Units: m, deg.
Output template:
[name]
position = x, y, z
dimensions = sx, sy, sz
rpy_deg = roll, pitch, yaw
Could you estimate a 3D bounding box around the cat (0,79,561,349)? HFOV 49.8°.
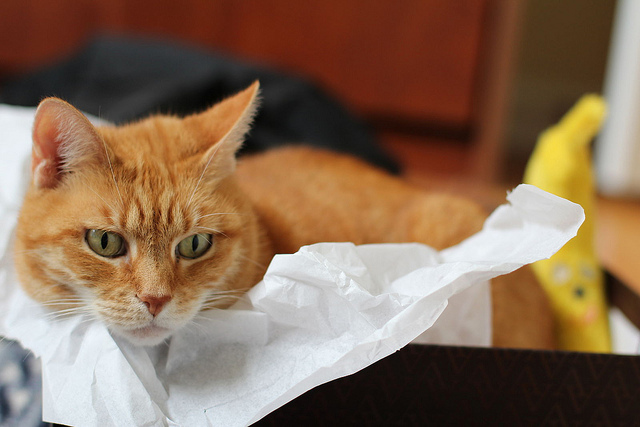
[cat]
position = -0.137, 0.037, 1.601
dimensions = 0.687, 0.897, 0.444
rpy_deg = -16, 80, 32
